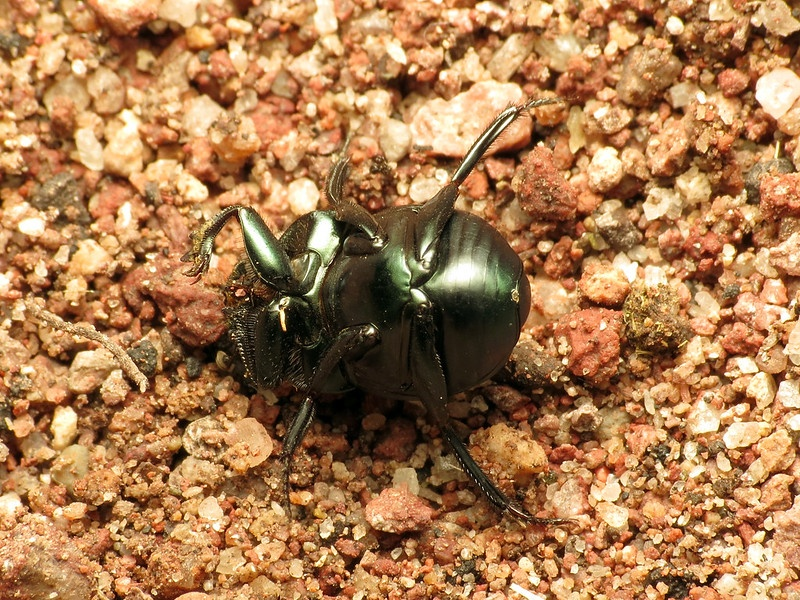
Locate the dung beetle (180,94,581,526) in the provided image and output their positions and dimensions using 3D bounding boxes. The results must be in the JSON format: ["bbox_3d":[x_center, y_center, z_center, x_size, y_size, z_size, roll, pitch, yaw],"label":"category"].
[{"bbox_3d":[-0.180,-0.010,3.801,1.505,0.388,1.580,0,80,13],"label":"dung beetle"}]
